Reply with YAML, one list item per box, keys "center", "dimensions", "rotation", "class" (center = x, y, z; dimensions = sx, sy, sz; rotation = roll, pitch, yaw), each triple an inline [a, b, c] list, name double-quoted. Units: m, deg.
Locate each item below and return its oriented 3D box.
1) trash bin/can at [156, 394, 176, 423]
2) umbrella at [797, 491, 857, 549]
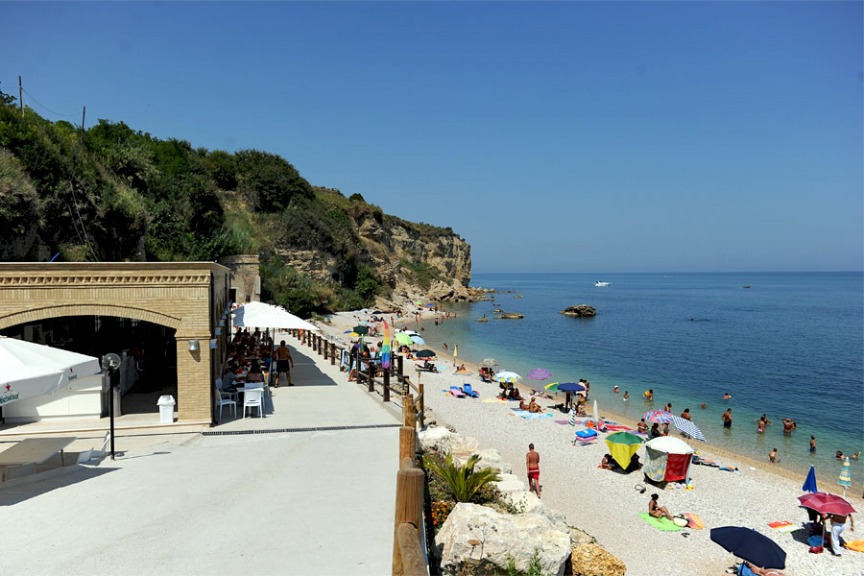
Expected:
- center: [-9.454, 4.252, 21.402]
  dimensions: [0.874, 1.044, 0.997]
  rotation: [-2, 4, -28]
  class: "trash bin/can"
- center: [13.563, 8.009, 20.760]
  dimensions: [1.345, 1.798, 1.674]
  rotation: [13, 18, 41]
  class: "umbrella"
